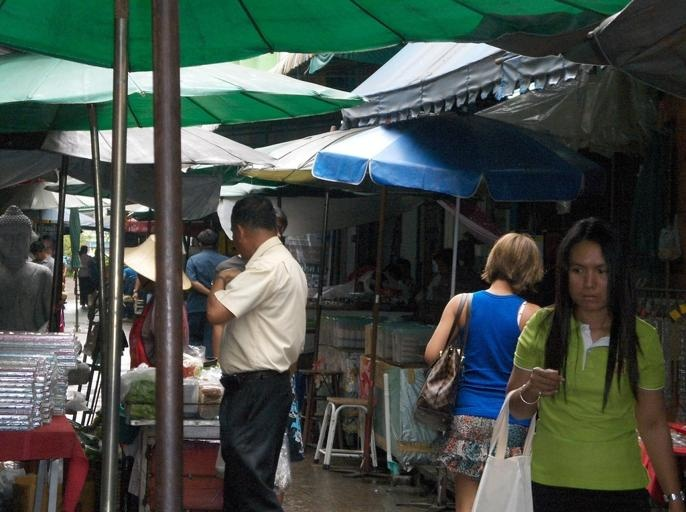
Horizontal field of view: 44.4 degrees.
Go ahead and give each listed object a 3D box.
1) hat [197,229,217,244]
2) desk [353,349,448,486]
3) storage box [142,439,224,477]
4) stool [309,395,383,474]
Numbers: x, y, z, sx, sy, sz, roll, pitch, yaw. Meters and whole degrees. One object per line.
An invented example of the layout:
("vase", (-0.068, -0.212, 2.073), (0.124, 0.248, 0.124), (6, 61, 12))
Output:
("hat", (-1.753, -0.234, 10.814), (0.183, 0.172, 0.204), (0, 18, -5))
("desk", (0.554, 1.559, 8.323), (0.855, 1.098, 1.550), (1, -4, -6))
("storage box", (-1.169, 1.367, 5.898), (0.399, 0.269, 0.295), (31, -23, -22))
("stool", (0.085, 1.901, 8.877), (0.570, 0.667, 0.527), (18, -10, -26))
